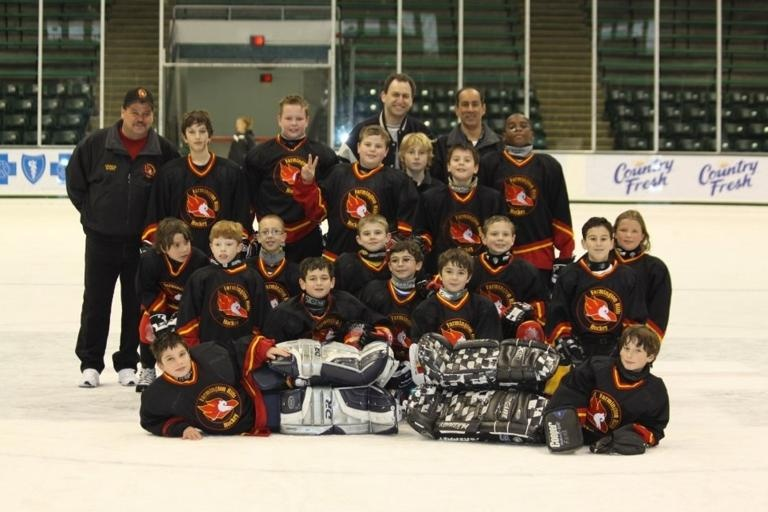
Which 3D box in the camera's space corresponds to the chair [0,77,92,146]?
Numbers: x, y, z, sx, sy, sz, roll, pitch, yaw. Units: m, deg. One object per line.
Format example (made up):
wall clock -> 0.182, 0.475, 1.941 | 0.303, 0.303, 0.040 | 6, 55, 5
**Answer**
chair -> -6.718, -2.781, 22.834 | 1.911, 1.330, 0.778 | -1, -21, 0
